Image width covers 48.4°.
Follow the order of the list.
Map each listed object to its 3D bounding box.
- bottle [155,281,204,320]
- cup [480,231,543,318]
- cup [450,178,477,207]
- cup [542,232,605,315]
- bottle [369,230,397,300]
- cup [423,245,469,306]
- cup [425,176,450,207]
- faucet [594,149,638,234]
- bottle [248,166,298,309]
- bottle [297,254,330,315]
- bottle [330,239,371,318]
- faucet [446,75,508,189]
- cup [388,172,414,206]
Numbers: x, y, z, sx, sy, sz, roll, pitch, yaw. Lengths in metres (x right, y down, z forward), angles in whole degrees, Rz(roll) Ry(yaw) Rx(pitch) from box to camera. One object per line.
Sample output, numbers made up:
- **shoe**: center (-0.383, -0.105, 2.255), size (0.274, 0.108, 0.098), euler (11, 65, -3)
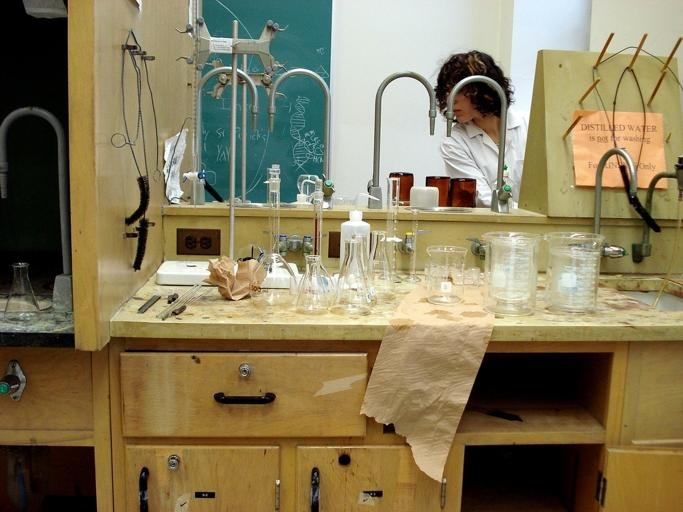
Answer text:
- **bottle**: center (-0.537, 0.150, 2.567), size (0.048, 0.035, 0.196), euler (3, 21, 12)
- **cup**: center (0.605, 0.123, 2.625), size (0.219, 0.332, 0.215), euler (8, -30, 5)
- **cup**: center (0.512, -0.274, 3.248), size (0.107, 0.136, 0.110), euler (0, 7, 0)
- **cup**: center (0.763, 0.034, 2.636), size (0.245, 0.356, 0.232), euler (0, 10, 0)
- **bottle**: center (0.142, 0.039, 2.793), size (0.108, 0.274, 0.112), euler (-2, -15, -1)
- **cup**: center (0.368, 0.076, 2.721), size (0.150, 0.211, 0.125), euler (0, -5, 13)
- **cup**: center (0.417, -0.272, 3.207), size (0.109, 0.136, 0.115), euler (0, 0, 0)
- **faucet**: center (1.046, -0.251, 2.926), size (0.147, 0.339, 0.454), euler (2, 5, 19)
- **bottle**: center (-0.240, -0.088, 2.778), size (0.170, 0.492, 0.526), euler (0, 5, -5)
- **bottle**: center (-0.066, 0.105, 2.576), size (0.149, 0.218, 0.158), euler (-2, 1, 0)
- **bottle**: center (0.037, 0.065, 2.557), size (0.130, 0.251, 0.138), euler (0, 5, 0)
- **faucet**: center (0.591, -0.469, 3.239), size (0.294, 0.702, 0.136), euler (-2, 47, 7)
- **cup**: center (0.252, -0.285, 3.198), size (0.084, 0.155, 0.090), euler (-1, 21, 0)
